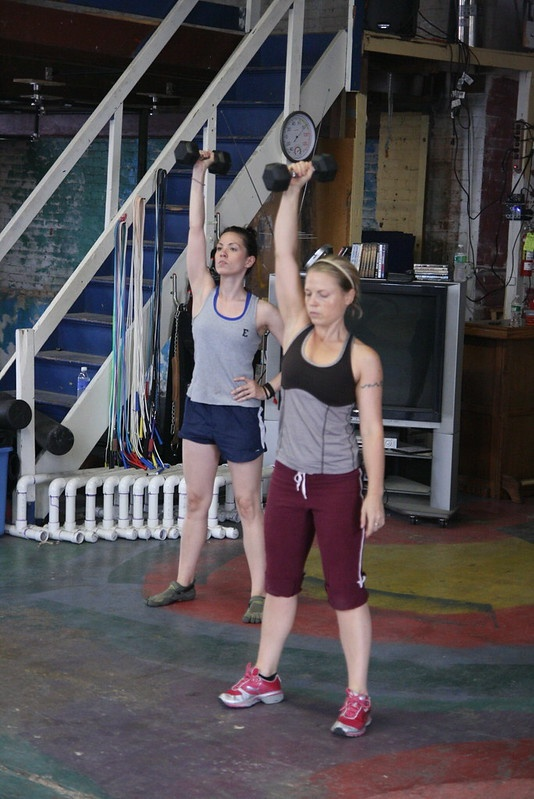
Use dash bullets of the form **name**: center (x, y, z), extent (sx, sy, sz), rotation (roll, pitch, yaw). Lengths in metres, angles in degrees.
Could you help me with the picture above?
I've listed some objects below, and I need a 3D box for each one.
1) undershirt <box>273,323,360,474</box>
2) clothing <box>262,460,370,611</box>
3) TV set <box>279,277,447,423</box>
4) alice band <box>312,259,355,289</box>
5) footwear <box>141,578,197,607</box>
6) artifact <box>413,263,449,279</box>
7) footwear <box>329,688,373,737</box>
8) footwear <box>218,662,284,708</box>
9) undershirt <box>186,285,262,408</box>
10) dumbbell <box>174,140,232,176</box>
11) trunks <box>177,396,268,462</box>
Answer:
- **undershirt**: center (0.133, -0.001, 2.229), extent (0.234, 0.402, 0.148), rotation (3, 4, 13)
- **clothing**: center (0.111, 0.376, 2.281), extent (0.157, 0.390, 0.338), rotation (-1, 5, -45)
- **TV set**: center (0.554, -0.314, 5.135), extent (1.282, 1.197, 0.714), rotation (1, 2, -1)
- **alice band**: center (0.186, -0.346, 2.220), extent (0.087, 0.090, 0.126), rotation (5, 5, 40)
- **footwear**: center (-0.414, 0.819, 3.468), extent (0.231, 0.089, 0.079), rotation (-2, 8, -24)
- **artifact**: center (0.988, -0.772, 4.954), extent (0.191, 0.097, 0.101), rotation (2, 3, 4)
- **footwear**: center (0.237, 0.886, 2.310), extent (0.074, 0.080, 0.170), rotation (1, -2, 19)
- **footwear**: center (-0.040, 0.876, 2.515), extent (0.236, 0.131, 0.086), rotation (1, 0, -19)
- **undershirt**: center (-0.159, -0.210, 3.220), extent (0.294, 0.446, 0.176), rotation (7, 9, 11)
- **dumbbell**: center (-0.252, -0.941, 3.159), extent (0.212, 0.118, 0.241), rotation (2, 3, -5)
- **trunks**: center (-0.184, 0.093, 3.229), extent (0.354, 0.230, 0.186), rotation (10, 17, 14)
